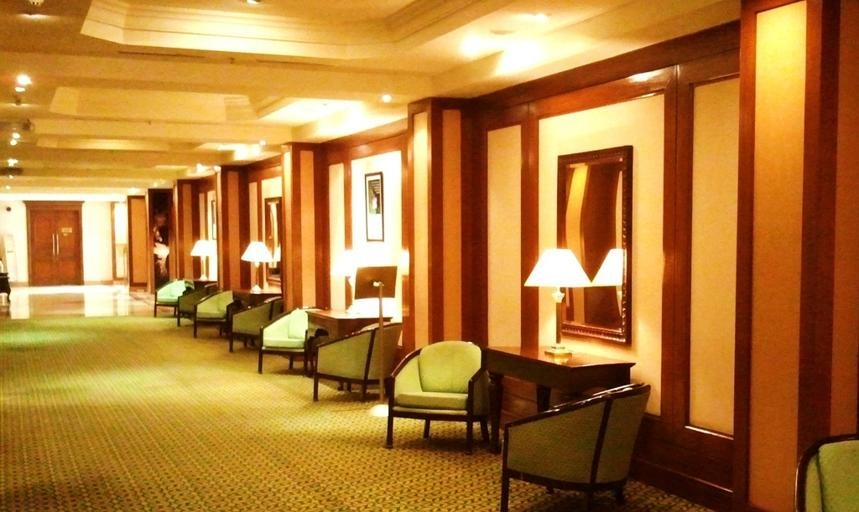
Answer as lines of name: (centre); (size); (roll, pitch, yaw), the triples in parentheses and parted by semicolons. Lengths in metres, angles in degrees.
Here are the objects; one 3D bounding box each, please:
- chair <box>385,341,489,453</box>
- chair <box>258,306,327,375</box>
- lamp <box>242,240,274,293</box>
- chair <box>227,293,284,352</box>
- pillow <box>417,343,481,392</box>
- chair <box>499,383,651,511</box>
chair: (0.124, 1.468, 7.056); (1.051, 0.896, 0.908); (0, -3, 13)
chair: (-2.146, 1.306, 10.061); (1.078, 0.849, 0.940); (2, -1, -16)
lamp: (-3.648, 0.177, 13.617); (0.561, 1.070, 2.106); (1, -1, -14)
chair: (-3.264, 1.240, 11.747); (1.014, 0.963, 0.829); (3, -5, -12)
pillow: (0.234, 1.212, 7.439); (0.653, 0.569, 0.738); (3, 5, 20)
chair: (1.318, 1.648, 6.001); (1.327, 1.190, 1.205); (-1, -3, 40)
